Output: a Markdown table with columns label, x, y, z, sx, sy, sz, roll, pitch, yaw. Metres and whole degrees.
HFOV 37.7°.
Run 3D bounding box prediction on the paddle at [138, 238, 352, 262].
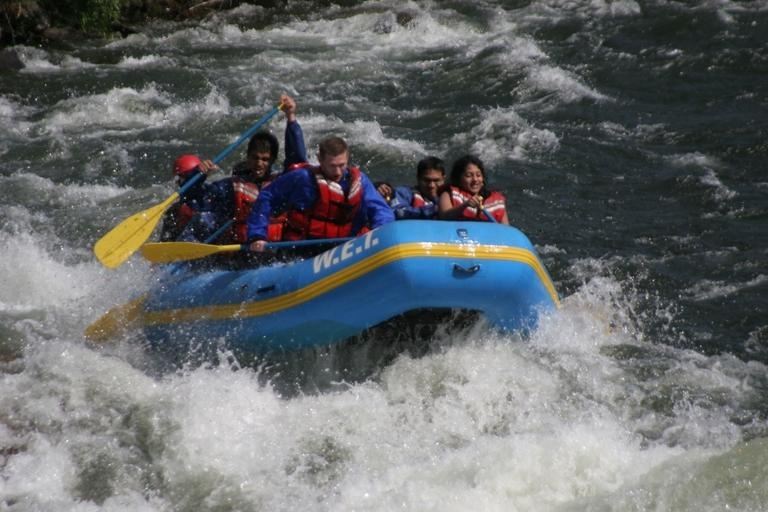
| label | x | y | z | sx | sy | sz | roll | pitch | yaw |
| --- | --- | --- | --- | --- | --- | --- | --- | --- | --- |
| paddle | -1.711 | -0.062 | 14.228 | 2.971 | 0.170 | 0.380 | -3 | 95 | 1 |

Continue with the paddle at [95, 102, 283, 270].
| label | x | y | z | sx | sy | sz | roll | pitch | yaw |
| --- | --- | --- | --- | --- | --- | --- | --- | --- | --- |
| paddle | -2.376 | -1.083 | 14.883 | 3.042 | 0.359 | 0.133 | -43 | 90 | -9 |

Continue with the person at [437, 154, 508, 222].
| label | x | y | z | sx | sy | sz | roll | pitch | yaw |
| --- | --- | --- | --- | --- | --- | --- | --- | --- | --- |
| person | 1.110 | -0.808 | 14.388 | 0.737 | 0.342 | 0.931 | -1 | 67 | -27 |
